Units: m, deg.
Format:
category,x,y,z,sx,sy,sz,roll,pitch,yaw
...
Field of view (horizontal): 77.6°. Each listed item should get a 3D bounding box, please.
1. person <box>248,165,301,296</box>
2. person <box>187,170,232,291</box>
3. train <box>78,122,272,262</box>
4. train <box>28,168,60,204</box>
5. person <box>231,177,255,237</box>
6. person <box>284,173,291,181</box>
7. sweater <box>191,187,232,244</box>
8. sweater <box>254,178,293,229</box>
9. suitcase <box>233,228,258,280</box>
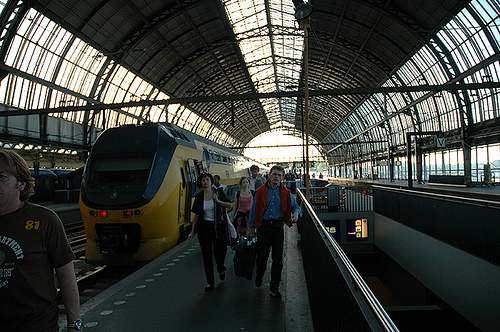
category,x,y,z,sx,sy,sz,roll,pitch,yaw
person,0.517,1.415,6.965,1.105,2.856,0.501,0,2,-1
person,-0.914,1.501,7.432,0.891,2.710,0.618,-1,2,-16
train,-2.960,0.868,19.467,3.331,5.188,19.462,-2,0,9
train,-16.980,1.603,25.762,1.086,2.672,2.855,0,2,-6
person,-0.189,1.403,9.652,0.813,2.155,0.632,1,20,-4
person,5.732,1.732,47.873,0.847,1.200,2.914,0,8,4
sweater,-0.907,1.226,7.458,1.129,1.791,0.522,4,-39,-21
sweater,0.527,0.836,7.018,0.897,1.238,0.208,-1,-30,8
suitcase,-0.093,2.043,7.203,0.555,1.337,0.521,0,2,1
